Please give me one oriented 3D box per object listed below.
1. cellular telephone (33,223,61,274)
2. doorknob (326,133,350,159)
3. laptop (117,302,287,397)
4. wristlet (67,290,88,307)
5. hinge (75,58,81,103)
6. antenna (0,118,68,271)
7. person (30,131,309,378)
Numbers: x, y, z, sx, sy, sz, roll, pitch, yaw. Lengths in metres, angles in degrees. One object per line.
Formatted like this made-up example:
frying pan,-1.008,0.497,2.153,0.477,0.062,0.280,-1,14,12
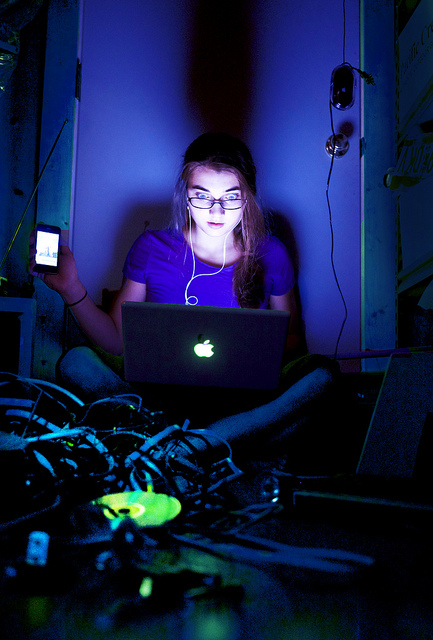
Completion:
cellular telephone,-0.538,-0.229,1.766,0.056,0.156,0.125,1,-2,18
doorknob,0.538,-0.772,2.423,0.103,0.106,0.025,-28,8,-5
laptop,-0.033,-0.022,1.438,0.405,0.275,0.314,1,43,-3
wristlet,-0.478,-0.071,1.882,0.046,0.050,0.011,-1,-18,17
hinge,-0.599,-1.045,2.362,0.009,0.170,0.030,1,-2,15
antenna,-0.736,-0.490,2.157,0.026,0.745,0.048,22,-11,28
person,-0.119,-0.216,2.197,1.166,0.973,0.597,1,6,-8
